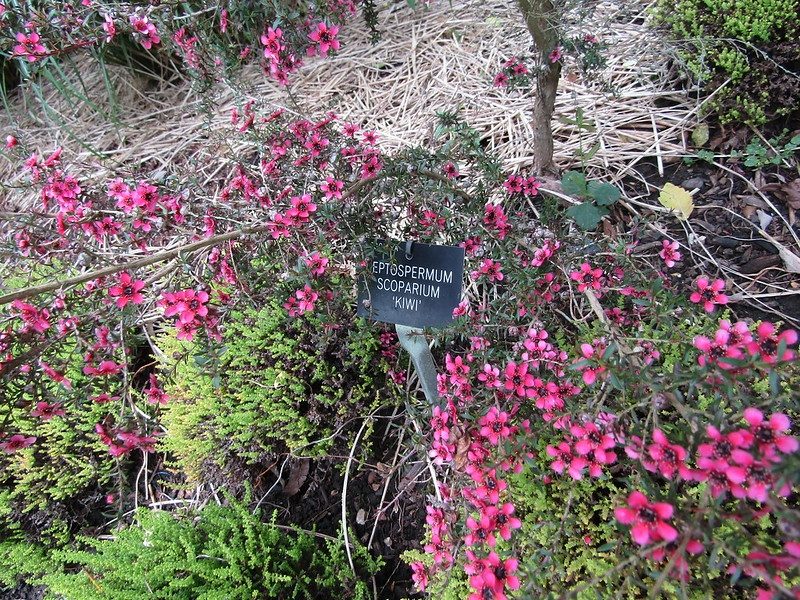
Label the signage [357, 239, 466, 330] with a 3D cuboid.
[{"bbox_3d":[0.069,-0.086,2.723,0.372,0.056,0.325,10,104,9],"label":"signage"}]
